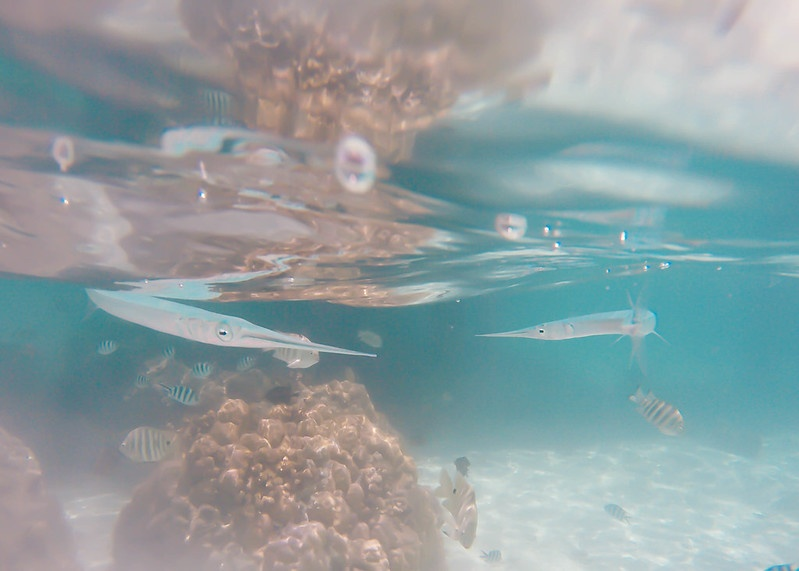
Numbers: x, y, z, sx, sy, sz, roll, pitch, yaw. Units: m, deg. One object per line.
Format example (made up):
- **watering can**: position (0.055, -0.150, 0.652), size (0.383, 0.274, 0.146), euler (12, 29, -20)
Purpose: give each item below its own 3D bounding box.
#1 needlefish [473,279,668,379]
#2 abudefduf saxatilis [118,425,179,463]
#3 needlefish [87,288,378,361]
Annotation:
- **needlefish**: position (3.172, 1.339, 12.495), size (3.361, 2.138, 2.075), euler (-4, 8, -37)
- **abudefduf saxatilis**: position (-5.461, 3.456, 13.724), size (1.202, 0.733, 0.281), euler (0, -8, -10)
- **needlefish**: position (-3.128, 0.707, 10.524), size (4.994, 0.702, 0.707), euler (10, 1, 10)
